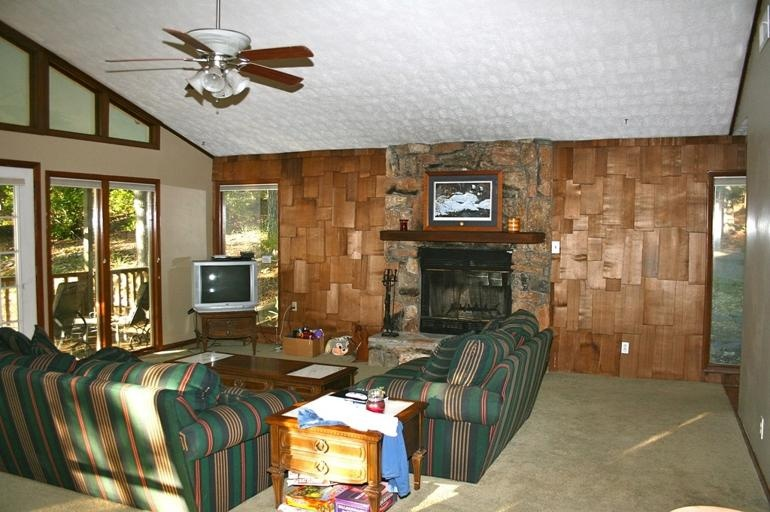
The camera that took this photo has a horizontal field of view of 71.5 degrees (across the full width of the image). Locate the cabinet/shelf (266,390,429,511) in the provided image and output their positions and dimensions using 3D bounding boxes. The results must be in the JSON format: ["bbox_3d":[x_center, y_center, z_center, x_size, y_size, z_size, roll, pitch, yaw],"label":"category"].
[{"bbox_3d":[-0.272,1.448,3.953,0.960,0.780,0.662,3,8,19],"label":"cabinet/shelf"}]

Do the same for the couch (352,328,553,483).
[{"bbox_3d":[0.584,1.240,4.617,1.270,0.766,1.901,1,-1,27],"label":"couch"}]

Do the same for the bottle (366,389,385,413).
[{"bbox_3d":[-0.059,1.037,3.860,0.178,0.131,0.157,0,1,16],"label":"bottle"}]

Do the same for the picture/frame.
[{"bbox_3d":[1.111,-0.756,7.304,1.167,0.686,0.078,0,0,16],"label":"picture/frame"}]

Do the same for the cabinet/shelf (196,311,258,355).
[{"bbox_3d":[-2.344,1.034,8.020,1.018,0.550,0.696,-1,-2,-16],"label":"cabinet/shelf"}]

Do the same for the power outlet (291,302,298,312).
[{"bbox_3d":[-1.437,0.804,8.517,0.118,0.150,0.021,5,10,27],"label":"power outlet"}]

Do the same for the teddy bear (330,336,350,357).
[{"bbox_3d":[-0.647,1.320,7.789,0.339,0.245,0.265,1,-7,-11],"label":"teddy bear"}]

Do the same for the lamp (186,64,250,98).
[{"bbox_3d":[-1.362,-1.461,4.443,0.468,0.164,0.365,-7,-26,0],"label":"lamp"}]

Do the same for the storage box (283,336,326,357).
[{"bbox_3d":[-1.195,1.316,7.753,0.417,0.147,0.367,0,-3,15],"label":"storage box"}]

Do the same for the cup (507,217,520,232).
[{"bbox_3d":[1.704,-0.416,7.026,0.151,0.185,0.160,1,8,0],"label":"cup"}]
